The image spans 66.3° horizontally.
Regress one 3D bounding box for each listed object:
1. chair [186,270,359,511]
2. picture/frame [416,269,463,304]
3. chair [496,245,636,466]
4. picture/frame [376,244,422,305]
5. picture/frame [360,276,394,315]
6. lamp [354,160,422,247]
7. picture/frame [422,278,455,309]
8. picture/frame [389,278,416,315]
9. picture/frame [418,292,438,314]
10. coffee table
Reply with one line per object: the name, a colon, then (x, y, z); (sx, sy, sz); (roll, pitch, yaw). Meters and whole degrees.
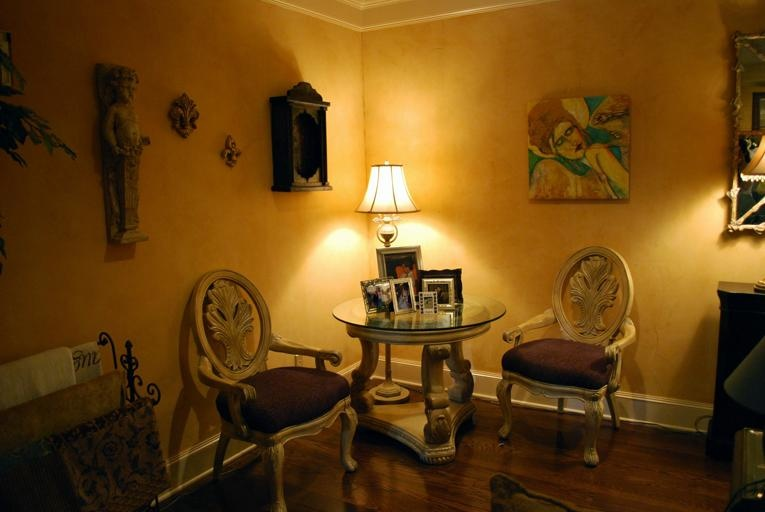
chair: (-0.742, 0.789, 3.842); (0.840, 1.418, 0.855); (1, 5, 39)
picture/frame: (0.411, 0.216, 4.195); (0.236, 0.220, 0.020); (0, 2, 1)
chair: (1.362, 0.651, 4.289); (0.901, 1.428, 0.820); (0, 5, 24)
picture/frame: (0.127, 0.143, 4.268); (0.404, 0.470, 0.039); (0, -10, -20)
picture/frame: (-0.027, 0.282, 4.155); (0.244, 0.252, 0.040); (-4, -2, -25)
lamp: (0.021, -0.410, 4.734); (0.452, 0.640, 0.550); (-3, 4, -5)
picture/frame: (0.401, 0.267, 4.160); (0.203, 0.213, 0.021); (-1, -6, -1)
picture/frame: (0.142, 0.284, 4.153); (0.234, 0.314, 0.032); (-2, -15, -25)
picture/frame: (0.329, 0.324, 4.121); (0.131, 0.160, 0.016); (-4, -14, 7)
coffee table: (0.284, 0.833, 4.290); (1.102, 0.853, 1.185); (2, 7, 22)
